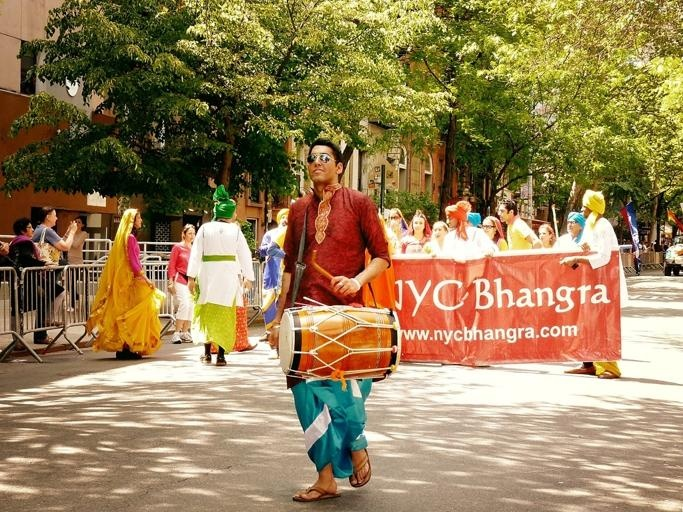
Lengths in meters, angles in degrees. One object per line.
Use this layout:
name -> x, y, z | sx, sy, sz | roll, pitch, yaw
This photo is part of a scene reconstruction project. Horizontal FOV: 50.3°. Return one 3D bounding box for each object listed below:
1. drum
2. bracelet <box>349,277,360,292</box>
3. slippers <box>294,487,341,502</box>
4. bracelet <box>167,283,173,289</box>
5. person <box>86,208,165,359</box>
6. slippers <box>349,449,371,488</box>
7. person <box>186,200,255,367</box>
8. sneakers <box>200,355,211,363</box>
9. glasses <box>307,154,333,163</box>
drum -> -0.035, 0.533, 5.224 | 0.667, 0.612, 0.588 | 1, -49, -14
bracelet -> 0.091, 0.205, 5.173 | 0.053, 0.075, 0.075 | -10, -39, -19
slippers -> -0.180, 1.677, 5.143 | 0.218, 0.062, 0.123 | 4, -6, -15
bracelet -> -2.916, 0.517, 12.452 | 0.097, 0.064, 0.099 | 3, -13, -25
person -> -3.374, 0.440, 11.451 | 1.069, 2.386, 0.529 | 0, -4, -19
slippers -> 0.136, 1.552, 5.373 | 0.154, 0.099, 0.407 | -24, 17, 11
person -> -1.756, 0.318, 10.598 | 0.961, 2.588, 0.671 | -2, -4, 6
sneakers -> -2.016, 1.557, 10.912 | 0.115, 0.091, 0.118 | 1, -6, -1
glasses -> -0.160, -0.728, 5.385 | 0.175, 0.087, 0.074 | -2, -4, 2
